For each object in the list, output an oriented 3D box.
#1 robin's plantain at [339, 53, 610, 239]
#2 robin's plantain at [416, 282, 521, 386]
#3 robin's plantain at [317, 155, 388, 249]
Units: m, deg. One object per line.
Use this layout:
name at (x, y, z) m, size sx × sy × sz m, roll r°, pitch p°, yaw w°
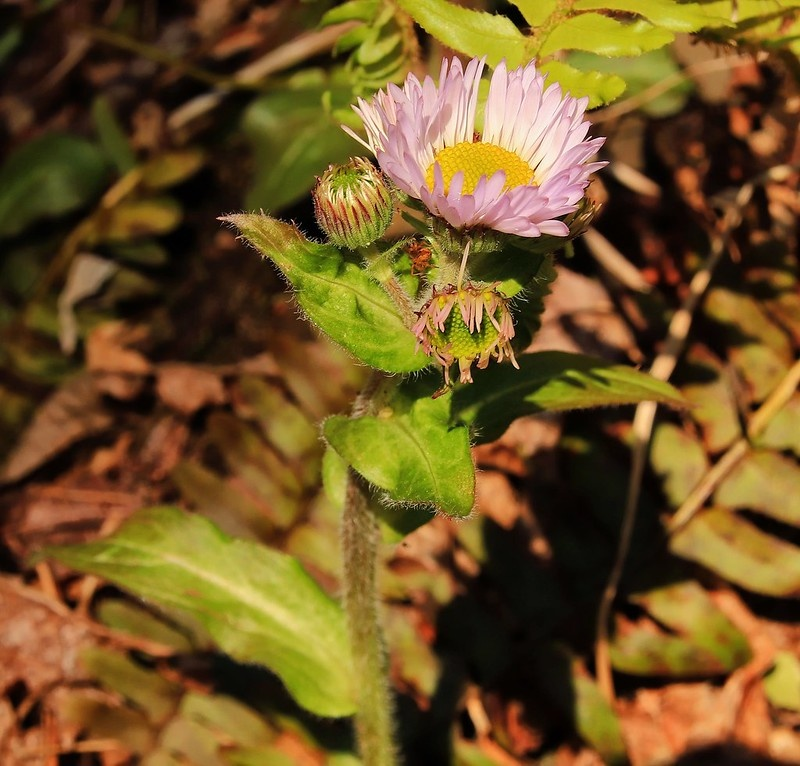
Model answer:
robin's plantain at (0.182, -0.517, 2.702) m, size 0.509 × 0.263 × 0.550 m, roll 19°, pitch 22°, yaw 3°
robin's plantain at (0.170, -0.132, 2.794) m, size 0.257 × 0.255 × 0.109 m, roll 9°, pitch 63°, yaw -31°
robin's plantain at (-0.082, -0.503, 2.873) m, size 0.218 × 0.241 × 0.241 m, roll -6°, pitch 84°, yaw -2°
